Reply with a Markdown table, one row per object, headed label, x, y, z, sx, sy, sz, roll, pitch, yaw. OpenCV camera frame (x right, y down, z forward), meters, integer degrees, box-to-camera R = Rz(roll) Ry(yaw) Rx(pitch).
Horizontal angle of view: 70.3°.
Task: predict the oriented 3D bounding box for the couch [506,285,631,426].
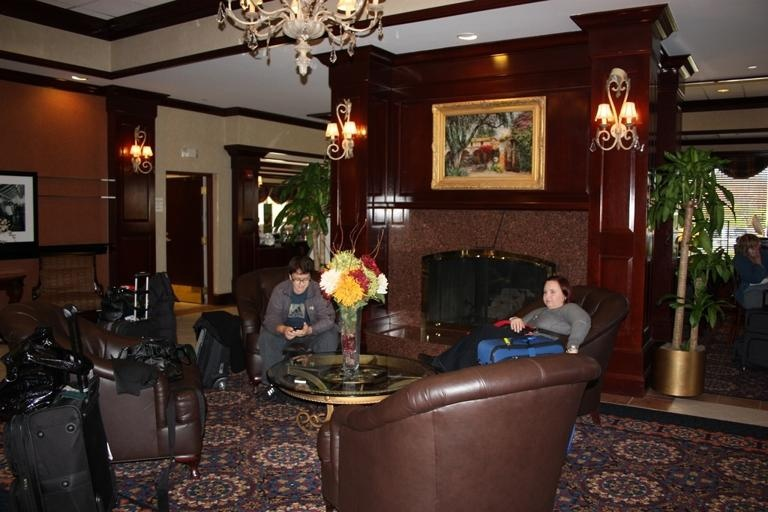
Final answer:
| label | x | y | z | sx | sy | sz | roll | pitch | yaw |
| --- | --- | --- | --- | --- | --- | --- | --- | --- | --- |
| couch | 1.687 | 0.889 | 5.412 | 1.101 | 1.225 | 1.072 | -1 | 0 | -22 |

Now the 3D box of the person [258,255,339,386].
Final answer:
| label | x | y | z | sx | sy | sz | roll | pitch | yaw |
| --- | --- | --- | --- | --- | --- | --- | --- | --- | --- |
| person | -0.859 | 0.691 | 5.652 | 0.742 | 1.249 | 0.948 | 5 | 9 | 9 |

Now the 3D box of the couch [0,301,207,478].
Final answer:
| label | x | y | z | sx | sy | sz | roll | pitch | yaw |
| --- | --- | --- | --- | --- | --- | --- | --- | --- | --- |
| couch | -2.353 | 1.033 | 4.605 | 1.584 | 1.465 | 1.322 | -2 | 9 | -15 |

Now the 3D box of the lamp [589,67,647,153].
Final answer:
| label | x | y | z | sx | sy | sz | roll | pitch | yaw |
| --- | --- | --- | --- | --- | --- | --- | --- | --- | --- |
| lamp | 2.501 | -1.545 | 5.775 | 0.539 | 0.865 | 0.206 | 4 | 10 | 22 |

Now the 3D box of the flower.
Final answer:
| label | x | y | z | sx | sy | sz | roll | pitch | yaw |
| --- | --- | --- | --- | --- | --- | --- | --- | --- | --- |
| flower | -0.258 | 0.269 | 4.559 | 0.550 | 0.581 | 0.320 | -1 | 9 | -8 |

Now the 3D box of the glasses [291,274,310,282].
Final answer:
| label | x | y | z | sx | sy | sz | roll | pitch | yaw |
| --- | --- | --- | --- | --- | --- | --- | --- | --- | --- |
| glasses | -0.857 | 0.212 | 5.600 | 0.201 | 0.092 | 0.156 | -1 | 10 | -11 |

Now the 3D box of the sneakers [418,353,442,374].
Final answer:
| label | x | y | z | sx | sy | sz | roll | pitch | yaw |
| --- | --- | --- | --- | --- | --- | --- | --- | --- | --- |
| sneakers | 0.451 | 1.019 | 5.175 | 0.129 | 0.170 | 0.421 | -1 | -5 | -14 |

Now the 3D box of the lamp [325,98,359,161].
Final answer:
| label | x | y | z | sx | sy | sz | roll | pitch | yaw |
| --- | --- | --- | --- | --- | --- | --- | --- | --- | --- |
| lamp | -0.560 | -1.625 | 7.042 | 0.521 | 0.776 | 0.238 | 9 | 12 | 42 |

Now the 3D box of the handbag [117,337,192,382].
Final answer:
| label | x | y | z | sx | sy | sz | roll | pitch | yaw |
| --- | --- | --- | --- | --- | --- | --- | --- | --- | --- |
| handbag | -1.783 | 0.887 | 4.439 | 0.365 | 0.167 | 0.465 | 20 | 5 | 14 |

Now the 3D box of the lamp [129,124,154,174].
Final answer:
| label | x | y | z | sx | sy | sz | roll | pitch | yaw |
| --- | --- | --- | --- | --- | --- | --- | --- | --- | --- |
| lamp | -4.021 | -1.742 | 8.985 | 0.388 | 0.780 | 0.182 | -6 | 11 | -35 |

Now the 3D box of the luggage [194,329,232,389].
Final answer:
| label | x | y | z | sx | sy | sz | roll | pitch | yaw |
| --- | --- | --- | --- | --- | --- | --- | --- | --- | --- |
| luggage | -1.791 | 1.046 | 5.662 | 0.305 | 0.577 | 0.492 | 2 | 19 | -22 |

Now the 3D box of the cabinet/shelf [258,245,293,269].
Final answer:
| label | x | y | z | sx | sy | sz | roll | pitch | yaw |
| --- | --- | --- | --- | --- | --- | --- | --- | --- | --- |
| cabinet/shelf | -2.360 | 0.020 | 11.575 | 0.153 | 0.415 | 0.447 | 11 | 12 | 42 |

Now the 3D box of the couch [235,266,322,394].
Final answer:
| label | x | y | z | sx | sy | sz | roll | pitch | yaw |
| --- | --- | --- | --- | --- | --- | --- | --- | --- | --- |
| couch | -1.356 | 0.749 | 6.451 | 1.104 | 1.361 | 1.227 | 1 | 0 | -8 |

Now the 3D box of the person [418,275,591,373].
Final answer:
| label | x | y | z | sx | sy | sz | roll | pitch | yaw |
| --- | --- | --- | --- | --- | --- | --- | --- | --- | --- |
| person | 1.155 | 0.664 | 5.089 | 1.314 | 0.747 | 0.879 | -2 | 11 | -6 |

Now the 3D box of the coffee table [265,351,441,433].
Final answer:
| label | x | y | z | sx | sy | sz | roll | pitch | yaw |
| --- | --- | --- | --- | --- | --- | --- | --- | --- | --- |
| coffee table | -0.259 | 0.922 | 4.649 | 1.013 | 0.384 | 1.039 | 2 | 0 | 18 |
